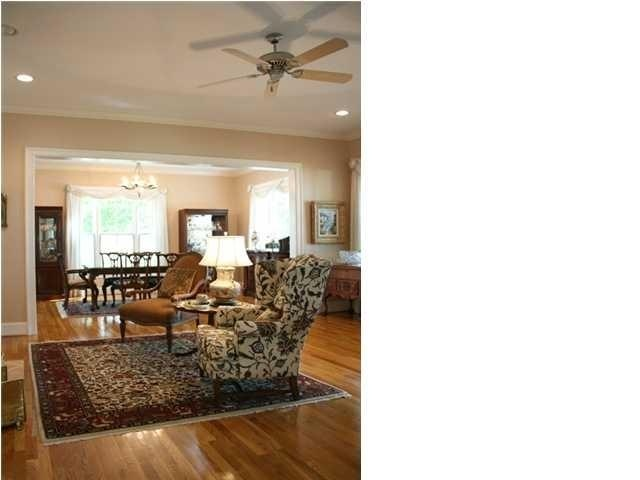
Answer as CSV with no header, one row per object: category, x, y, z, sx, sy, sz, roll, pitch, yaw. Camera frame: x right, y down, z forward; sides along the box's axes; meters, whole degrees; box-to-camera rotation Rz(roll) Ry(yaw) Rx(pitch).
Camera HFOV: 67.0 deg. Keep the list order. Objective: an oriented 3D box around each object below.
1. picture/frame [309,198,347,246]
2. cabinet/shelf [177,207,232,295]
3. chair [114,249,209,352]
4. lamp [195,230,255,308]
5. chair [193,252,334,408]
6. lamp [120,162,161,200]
picture/frame,0.089,-0.237,6.268,0.682,0.644,0.101,0,-2,-28
cabinet/shelf,-2.076,0.234,9.154,0.776,1.650,0.401,-4,5,-14
chair,-1.415,0.520,4.542,0.665,0.751,0.674,5,8,36
lamp,-0.765,0.245,3.827,0.443,0.497,0.416,-1,-3,20
chair,-0.464,0.570,3.366,0.994,1.048,0.896,3,-4,-17
lamp,-3.070,-1.067,8.236,0.533,0.543,0.526,8,17,27
